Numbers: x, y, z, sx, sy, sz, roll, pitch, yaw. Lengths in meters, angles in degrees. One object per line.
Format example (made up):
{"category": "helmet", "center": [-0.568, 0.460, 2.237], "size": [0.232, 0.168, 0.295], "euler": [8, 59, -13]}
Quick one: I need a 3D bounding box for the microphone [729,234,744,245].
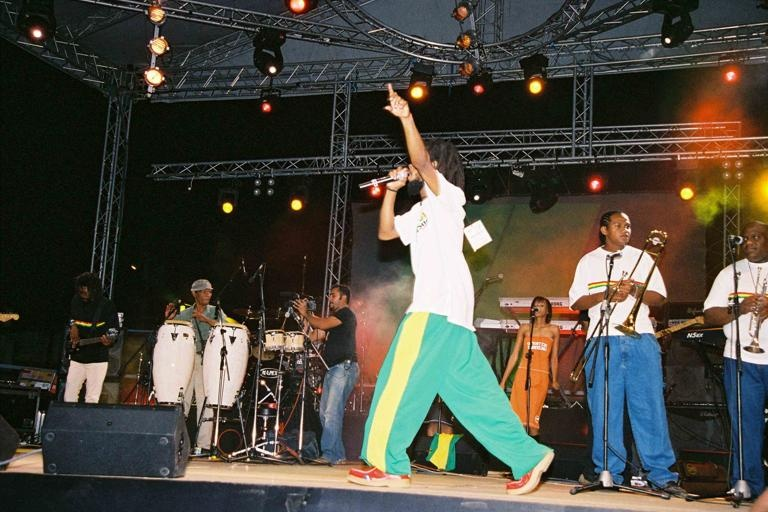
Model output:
{"category": "microphone", "center": [4.108, -0.205, 8.181], "size": [0.144, 0.070, 0.211], "euler": [16, -13, 15]}

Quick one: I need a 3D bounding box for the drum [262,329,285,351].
{"category": "drum", "center": [-1.724, 1.352, 10.851], "size": [0.306, 0.278, 0.301], "euler": [10, -22, -28]}

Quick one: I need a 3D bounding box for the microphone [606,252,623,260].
{"category": "microphone", "center": [2.647, 0.035, 8.076], "size": [0.147, 0.097, 0.242], "euler": [0, -13, 12]}

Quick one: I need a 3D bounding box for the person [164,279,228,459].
{"category": "person", "center": [-3.088, 1.618, 10.987], "size": [1.058, 2.899, 0.942], "euler": [4, -3, -10]}

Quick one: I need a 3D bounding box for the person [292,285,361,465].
{"category": "person", "center": [-0.944, 1.857, 10.905], "size": [1.097, 2.825, 0.858], "euler": [4, -7, -29]}

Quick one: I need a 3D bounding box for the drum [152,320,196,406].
{"category": "drum", "center": [-3.075, 1.546, 10.134], "size": [0.580, 1.195, 0.388], "euler": [5, -11, -14]}

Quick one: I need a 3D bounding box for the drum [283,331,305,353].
{"category": "drum", "center": [-1.396, 1.357, 10.817], "size": [0.298, 0.319, 0.292], "euler": [11, -15, -40]}

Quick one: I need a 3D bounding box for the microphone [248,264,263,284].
{"category": "microphone", "center": [-2.457, 0.342, 13.294], "size": [0.128, 0.139, 0.520], "euler": [6, -44, -47]}

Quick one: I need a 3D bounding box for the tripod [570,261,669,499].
{"category": "tripod", "center": [2.821, 1.343, 8.336], "size": [0.991, 2.638, 0.887], "euler": [-1, -1, 12]}

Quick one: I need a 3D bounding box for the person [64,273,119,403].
{"category": "person", "center": [-4.570, 1.252, 10.927], "size": [0.847, 2.012, 0.564], "euler": [3, -11, -5]}

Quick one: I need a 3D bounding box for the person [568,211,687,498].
{"category": "person", "center": [2.847, 1.096, 8.256], "size": [1.223, 3.157, 1.158], "euler": [1, 0, 15]}
